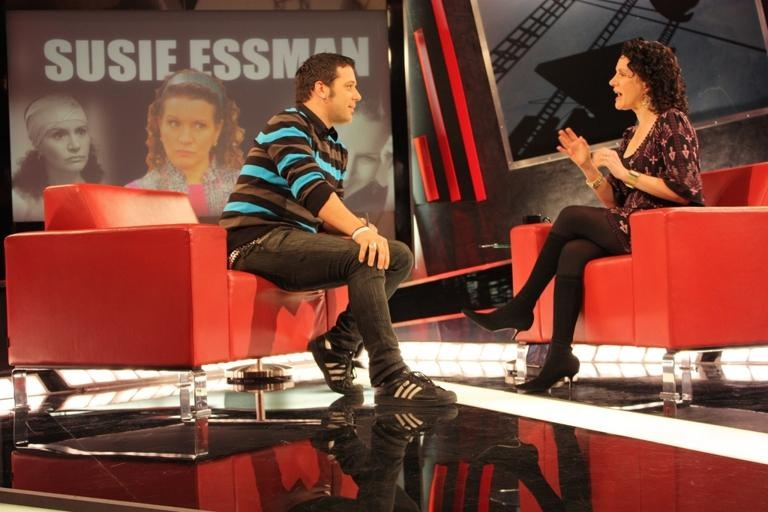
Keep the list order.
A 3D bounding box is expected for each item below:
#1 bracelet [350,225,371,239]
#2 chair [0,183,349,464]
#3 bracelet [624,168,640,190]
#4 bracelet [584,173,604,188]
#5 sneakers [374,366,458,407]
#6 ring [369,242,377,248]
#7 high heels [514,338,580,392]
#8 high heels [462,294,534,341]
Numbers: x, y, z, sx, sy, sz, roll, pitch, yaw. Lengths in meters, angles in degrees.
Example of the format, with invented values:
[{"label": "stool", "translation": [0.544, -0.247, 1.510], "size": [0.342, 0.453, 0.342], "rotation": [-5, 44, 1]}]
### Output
[{"label": "bracelet", "translation": [-0.080, -0.103, 2.870], "size": [0.097, 0.057, 0.092], "rotation": [-4, 4, -27]}, {"label": "chair", "translation": [-1.016, 0.173, 2.919], "size": [1.144, 0.971, 0.986], "rotation": [-1, 4, 15]}, {"label": "bracelet", "translation": [1.111, -0.351, 3.164], "size": [0.068, 0.087, 0.095], "rotation": [3, 9, -3]}, {"label": "bracelet", "translation": [1.044, -0.375, 3.445], "size": [0.104, 0.039, 0.109], "rotation": [-11, 5, 11]}, {"label": "sneakers", "translation": [0.134, 0.530, 2.830], "size": [0.334, 0.129, 0.136], "rotation": [0, -4, 2]}, {"label": "ring", "translation": [-0.038, -0.049, 2.777], "size": [0.025, 0.021, 0.016], "rotation": [2, -6, -26]}, {"label": "high heels", "translation": [0.700, 0.474, 3.073], "size": [0.339, 0.203, 0.118], "rotation": [1, -2, -19]}, {"label": "high heels", "translation": [0.559, 0.276, 3.258], "size": [0.399, 0.175, 0.130], "rotation": [13, 2, -6]}]
